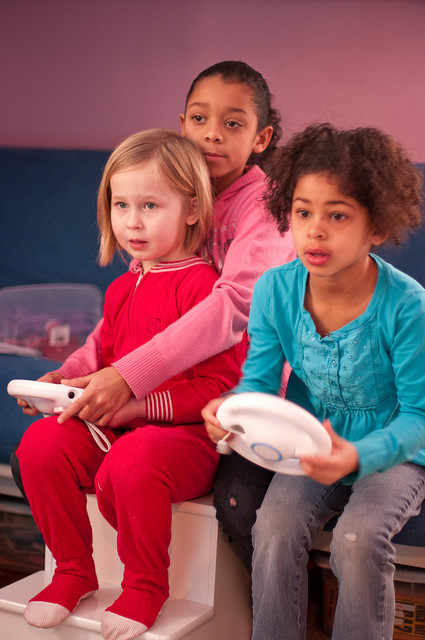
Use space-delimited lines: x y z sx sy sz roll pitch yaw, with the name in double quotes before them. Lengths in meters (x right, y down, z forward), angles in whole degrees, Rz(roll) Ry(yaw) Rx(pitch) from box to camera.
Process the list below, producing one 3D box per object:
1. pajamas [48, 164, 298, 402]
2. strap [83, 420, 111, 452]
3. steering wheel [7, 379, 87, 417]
"pajamas" -0.078 -0.089 1.203 0.463 0.444 0.447 1 -4 15
"strap" -0.176 0.182 1.000 0.016 0.056 0.040 -49 -6 -21
"steering wheel" -0.261 0.117 0.971 0.162 0.060 0.116 -1 -6 17
